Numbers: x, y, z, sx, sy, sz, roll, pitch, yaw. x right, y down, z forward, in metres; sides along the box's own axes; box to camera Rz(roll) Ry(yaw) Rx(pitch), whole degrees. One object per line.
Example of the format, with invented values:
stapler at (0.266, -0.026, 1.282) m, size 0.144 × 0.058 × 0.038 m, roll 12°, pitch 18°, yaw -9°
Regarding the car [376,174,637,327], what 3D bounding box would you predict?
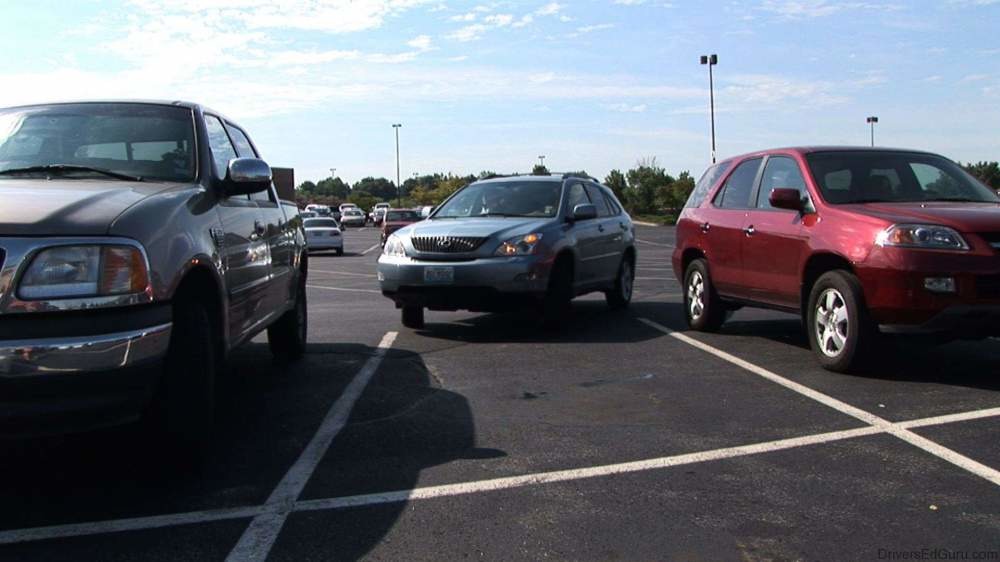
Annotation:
car at (0.387, -0.643, 10.057) m, size 2.764 × 2.484 × 5.047 m, roll 8°, pitch 11°, yaw 40°
